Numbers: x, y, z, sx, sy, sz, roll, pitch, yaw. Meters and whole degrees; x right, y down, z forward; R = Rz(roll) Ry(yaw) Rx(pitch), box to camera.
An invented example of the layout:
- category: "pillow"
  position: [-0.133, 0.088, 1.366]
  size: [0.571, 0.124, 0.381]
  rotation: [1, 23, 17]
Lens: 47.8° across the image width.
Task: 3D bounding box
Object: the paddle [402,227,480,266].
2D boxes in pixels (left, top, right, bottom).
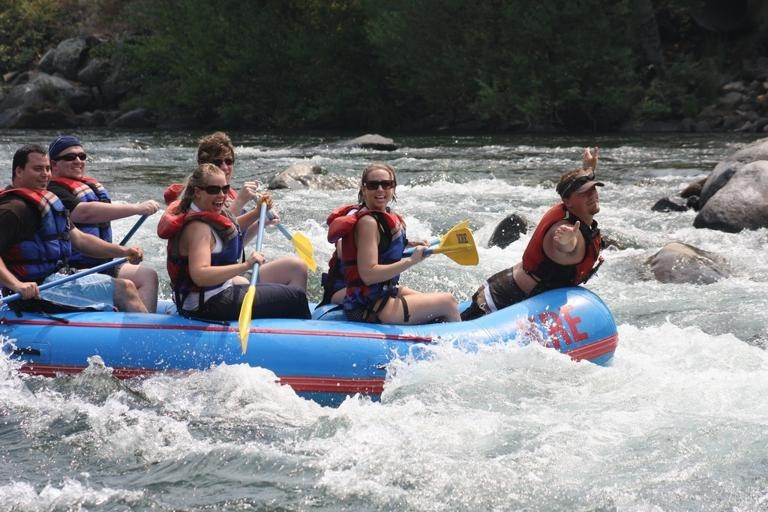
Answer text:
- category: "paddle"
  position: [0.570, -0.071, 8.705]
  size: [0.707, 0.346, 0.159]
  rotation: [-14, 4, 14]

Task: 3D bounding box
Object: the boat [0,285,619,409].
- category: "boat"
  position: [-0.850, 0.842, 8.605]
  size: [4.520, 0.664, 1.973]
  rotation: [1, 0, 4]

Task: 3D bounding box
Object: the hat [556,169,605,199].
- category: "hat"
  position: [1.909, -0.747, 8.574]
  size: [0.430, 0.198, 0.287]
  rotation: [-24, 1, 33]

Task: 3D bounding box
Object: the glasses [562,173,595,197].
- category: "glasses"
  position: [1.889, -0.709, 8.527]
  size: [0.268, 0.076, 0.234]
  rotation: [-29, -4, 26]
